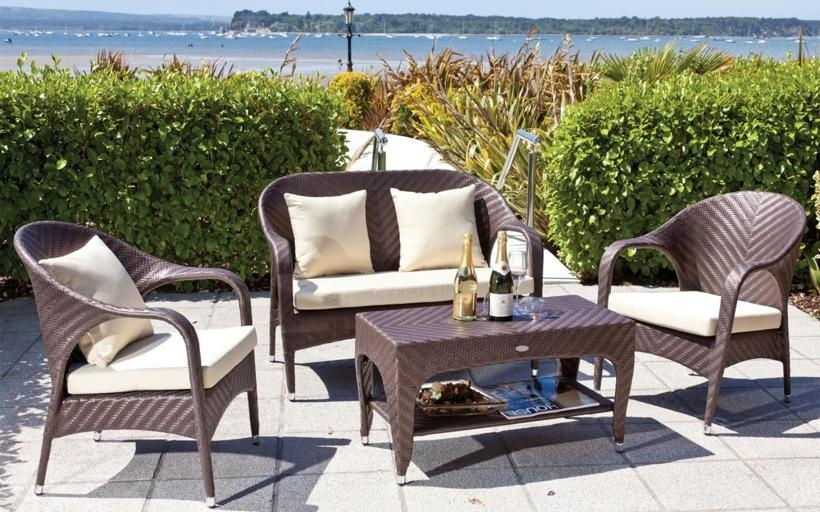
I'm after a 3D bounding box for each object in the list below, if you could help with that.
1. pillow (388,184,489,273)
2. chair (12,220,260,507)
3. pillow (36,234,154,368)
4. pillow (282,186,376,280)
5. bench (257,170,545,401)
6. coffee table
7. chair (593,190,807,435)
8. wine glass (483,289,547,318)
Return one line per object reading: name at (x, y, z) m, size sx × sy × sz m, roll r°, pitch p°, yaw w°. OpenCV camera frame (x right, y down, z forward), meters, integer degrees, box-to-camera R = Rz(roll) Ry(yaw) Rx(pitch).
pillow at (0.202, -0.177, 5.526) m, size 0.612 × 0.589 × 0.226 m, roll -4°, pitch -20°, yaw -4°
chair at (-1.714, 0.630, 4.863) m, size 1.576 × 1.890 × 1.539 m, roll 3°, pitch 12°, yaw 3°
pillow at (-1.851, 0.274, 4.176) m, size 0.369 × 0.660 × 0.718 m, roll -5°, pitch 8°, yaw 8°
pillow at (-0.647, -0.152, 5.398) m, size 0.619 × 0.589 × 0.229 m, roll -6°, pitch -13°, yaw -15°
bench at (-0.099, 0.102, 5.505) m, size 2.007 × 1.436 × 1.024 m, roll -4°, pitch 13°, yaw -21°
coffee table at (0.432, 0.577, 4.239) m, size 1.698 × 0.864 × 0.964 m, roll -5°, pitch 21°, yaw -14°
chair at (1.979, 0.335, 5.001) m, size 1.224 × 1.454 × 1.266 m, roll 5°, pitch 11°, yaw 33°
wine glass at (0.652, 0.308, 4.445) m, size 0.283 × 0.129 × 0.166 m, roll -4°, pitch 5°, yaw -6°
